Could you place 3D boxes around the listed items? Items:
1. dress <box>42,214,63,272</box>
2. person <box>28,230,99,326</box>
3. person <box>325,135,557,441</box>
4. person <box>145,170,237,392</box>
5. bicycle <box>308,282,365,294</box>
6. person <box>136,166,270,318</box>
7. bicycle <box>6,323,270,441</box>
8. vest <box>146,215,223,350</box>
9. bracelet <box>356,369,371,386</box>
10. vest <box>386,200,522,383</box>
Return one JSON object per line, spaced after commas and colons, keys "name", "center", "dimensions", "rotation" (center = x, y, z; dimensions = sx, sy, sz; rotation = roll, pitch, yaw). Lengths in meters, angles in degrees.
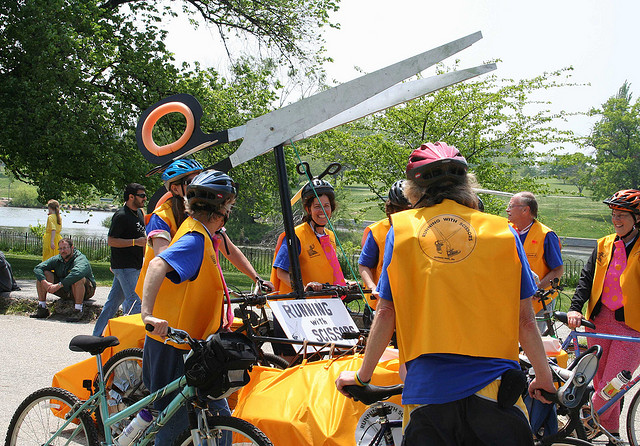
{"name": "dress", "center": [-6.554, 0.373, 14.214], "dimensions": [0.353, 1.142, 0.801], "rotation": [1, 2, -25]}
{"name": "person", "center": [-5.012, 1.129, 11.302], "dimensions": [1.026, 1.601, 0.884], "rotation": [1, 2, -7]}
{"name": "person", "center": [0.924, 0.441, 4.009], "dimensions": [1.248, 2.036, 0.578], "rotation": [2, 2, 18]}
{"name": "person", "center": [-1.118, 0.536, 4.983], "dimensions": [0.613, 2.147, 1.525], "rotation": [3, 19, -1]}
{"name": "bicycle", "center": [0.244, 0.777, 6.952], "dimensions": [0.466, 0.113, 0.479], "rotation": [2, 1, 3]}
{"name": "person", "center": [-1.304, 0.061, 5.807], "dimensions": [0.710, 1.504, 1.322], "rotation": [-17, -14, 31]}
{"name": "bicycle", "center": [-1.607, 1.594, 5.440], "dimensions": [2.357, 1.566, 1.255], "rotation": [-4, -9, 17]}
{"name": "vest", "center": [-1.113, 0.548, 4.823], "dimensions": [0.498, 0.985, 0.943], "rotation": [12, 0, -18]}
{"name": "bracelet", "center": [0.308, 1.106, 4.111], "dimensions": [0.101, 0.132, 0.049], "rotation": [-4, 6, 4]}
{"name": "vest", "center": [0.975, 0.421, 4.181], "dimensions": [0.910, 1.246, 0.682], "rotation": [-2, 6, 4]}
